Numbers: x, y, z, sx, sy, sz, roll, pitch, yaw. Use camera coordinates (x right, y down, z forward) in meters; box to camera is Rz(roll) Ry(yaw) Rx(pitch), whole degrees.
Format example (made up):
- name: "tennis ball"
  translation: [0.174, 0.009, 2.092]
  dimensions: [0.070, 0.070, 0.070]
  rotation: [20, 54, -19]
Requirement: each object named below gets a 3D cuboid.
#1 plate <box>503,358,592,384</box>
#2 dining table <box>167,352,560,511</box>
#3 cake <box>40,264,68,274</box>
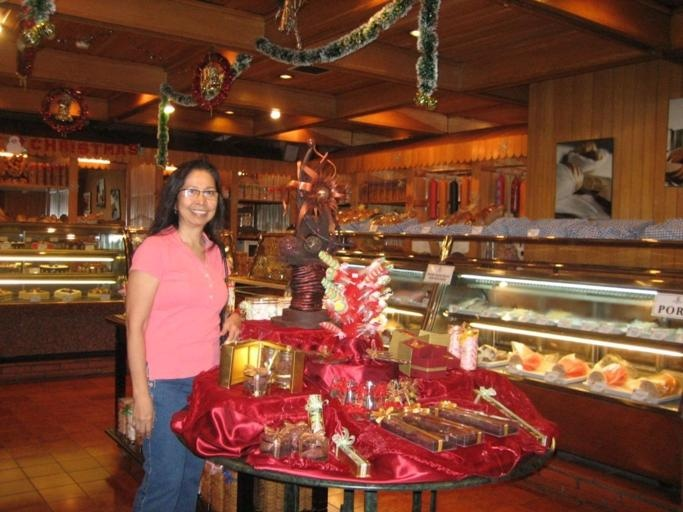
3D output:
- name: "plate"
  translation: [1.503, 0.827, 3.604]
  dimensions: [0.330, 0.034, 0.368]
  rotation: [2, 5, 42]
- name: "dining table"
  translation: [0.167, 0.679, 2.133]
  dimensions: [1.613, 0.300, 0.826]
  rotation: [1, 3, -20]
- name: "cake"
  translation: [-3.570, 0.150, 6.264]
  dimensions: [0.316, 0.098, 0.091]
  rotation: [1, 4, -29]
